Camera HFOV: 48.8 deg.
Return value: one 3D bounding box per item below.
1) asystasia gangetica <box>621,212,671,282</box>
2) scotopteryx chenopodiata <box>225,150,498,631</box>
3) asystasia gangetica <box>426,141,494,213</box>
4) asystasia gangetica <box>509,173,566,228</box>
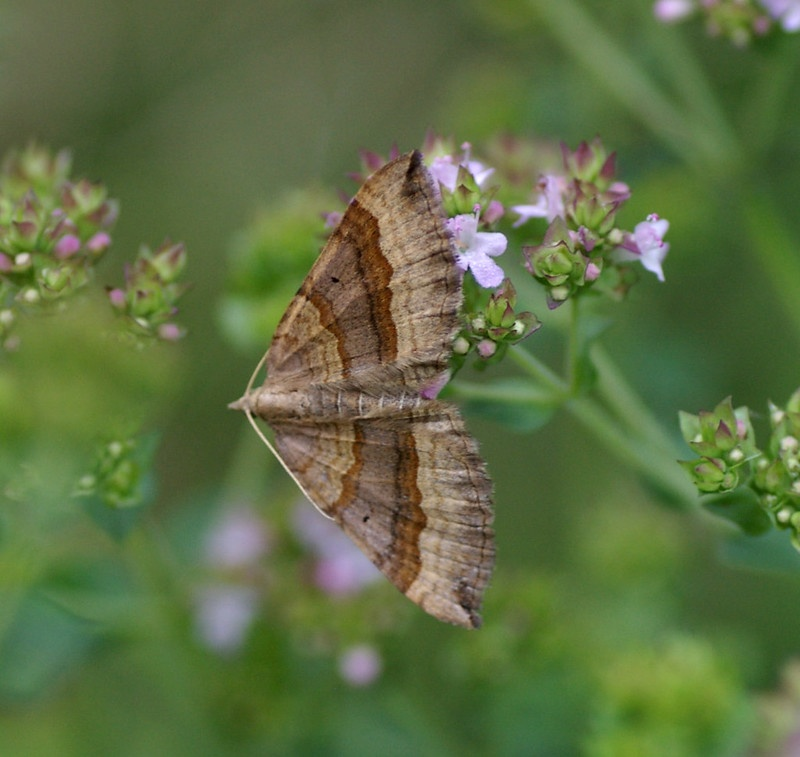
[{"bbox_3d":[0.486,-0.261,1.753,0.086,0.149,0.135,-8,-7,23],"label":"asystasia gangetica"},{"bbox_3d":[-0.087,0.041,1.654,0.477,0.850,0.178,-8,-7,21],"label":"scotopteryx chenopodiata"},{"bbox_3d":[0.096,-0.394,1.730,0.153,0.160,0.129,-9,22,-21],"label":"asystasia gangetica"},{"bbox_3d":[0.281,-0.357,1.778,0.088,0.121,0.091,0,19,14],"label":"asystasia gangetica"}]
